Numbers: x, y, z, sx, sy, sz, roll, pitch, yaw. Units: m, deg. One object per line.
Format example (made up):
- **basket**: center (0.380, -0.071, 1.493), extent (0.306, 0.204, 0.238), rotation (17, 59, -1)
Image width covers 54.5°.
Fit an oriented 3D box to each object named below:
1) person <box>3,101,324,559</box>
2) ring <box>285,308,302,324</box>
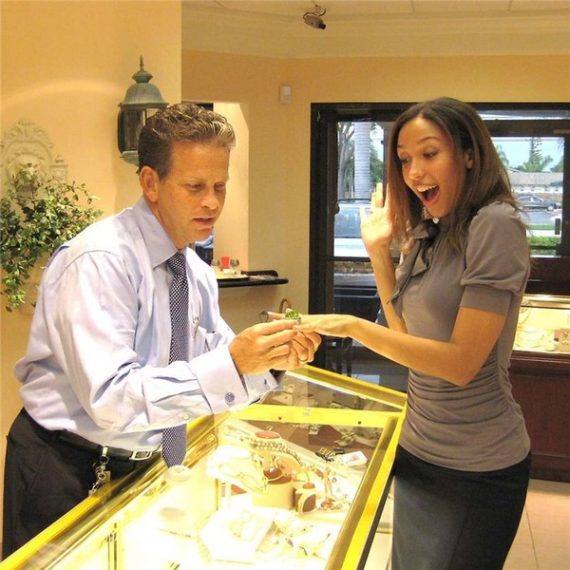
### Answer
- **person**: center (-0.331, 0.110, 1.331), extent (0.788, 1.073, 0.466), rotation (-6, 8, -18)
- **ring**: center (0.023, 0.086, 1.479), extent (0.038, 0.012, 0.041), rotation (12, 38, -9)
